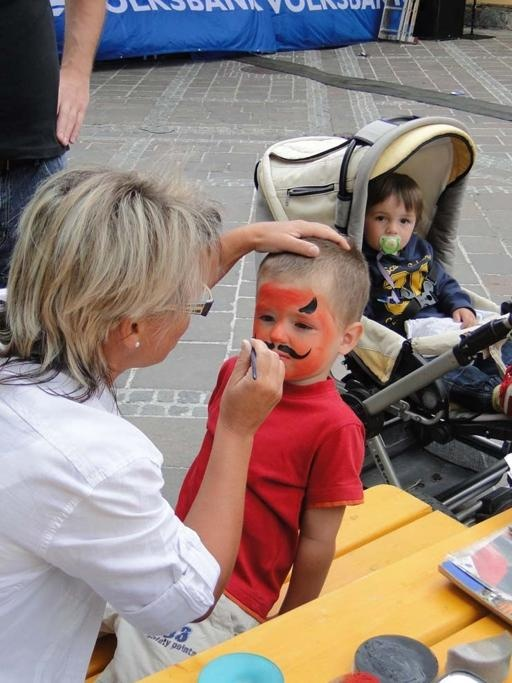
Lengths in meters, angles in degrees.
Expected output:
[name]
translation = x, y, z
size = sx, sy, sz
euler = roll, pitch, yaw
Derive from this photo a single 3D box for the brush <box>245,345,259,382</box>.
[brush]
translation = -0.007, 0.040, 1.148
size = 0.012, 0.014, 0.073
euler = -27, 42, 20
